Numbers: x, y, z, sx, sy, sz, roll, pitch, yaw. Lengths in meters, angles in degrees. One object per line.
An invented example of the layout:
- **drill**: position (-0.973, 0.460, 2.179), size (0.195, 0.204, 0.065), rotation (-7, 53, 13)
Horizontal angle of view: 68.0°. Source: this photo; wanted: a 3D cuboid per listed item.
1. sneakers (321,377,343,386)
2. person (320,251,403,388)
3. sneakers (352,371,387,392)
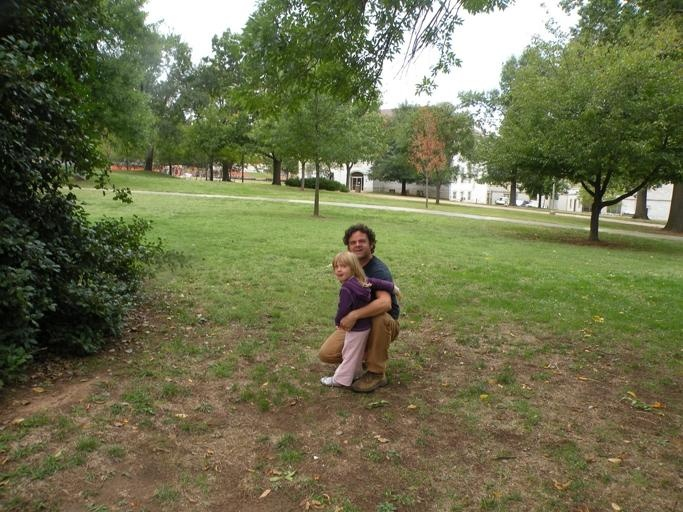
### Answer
- **sneakers**: position (-0.139, 1.661, 6.705), size (0.191, 0.068, 0.126), rotation (6, 3, 10)
- **person**: position (0.268, 0.835, 6.716), size (0.959, 1.891, 0.693), rotation (0, 13, -7)
- **sneakers**: position (0.382, 1.668, 6.686), size (0.453, 0.251, 0.189), rotation (3, 0, -27)
